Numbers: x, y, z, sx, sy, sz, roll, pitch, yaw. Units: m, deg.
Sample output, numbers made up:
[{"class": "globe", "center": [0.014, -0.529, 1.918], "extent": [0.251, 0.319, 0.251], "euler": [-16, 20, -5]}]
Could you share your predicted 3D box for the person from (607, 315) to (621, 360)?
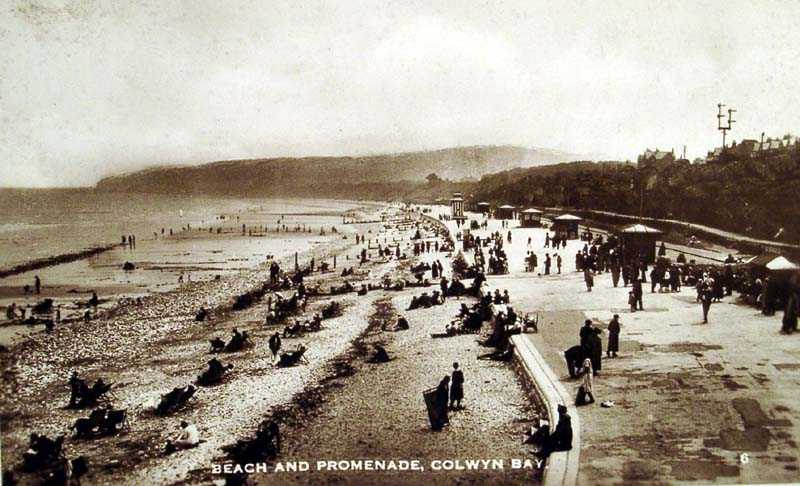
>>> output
[{"class": "person", "center": [10.740, 4.667, 36.017], "extent": [0.564, 2.247, 0.760], "euler": [-1, 6, 19]}]
